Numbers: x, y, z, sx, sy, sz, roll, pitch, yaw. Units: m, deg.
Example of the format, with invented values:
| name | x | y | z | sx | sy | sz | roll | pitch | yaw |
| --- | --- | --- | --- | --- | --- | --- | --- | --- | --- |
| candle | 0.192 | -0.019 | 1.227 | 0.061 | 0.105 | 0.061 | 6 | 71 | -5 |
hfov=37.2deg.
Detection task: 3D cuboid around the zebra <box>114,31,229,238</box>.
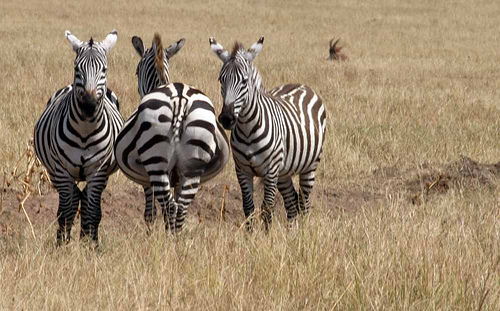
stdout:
| name | x | y | z | sx | sy | sz | roll | pitch | yaw |
| --- | --- | --- | --- | --- | --- | --- | --- | --- | --- |
| zebra | -1.757 | -0.136 | 16.043 | 2.220 | 4.244 | 3.059 | -7 | 28 | -11 |
